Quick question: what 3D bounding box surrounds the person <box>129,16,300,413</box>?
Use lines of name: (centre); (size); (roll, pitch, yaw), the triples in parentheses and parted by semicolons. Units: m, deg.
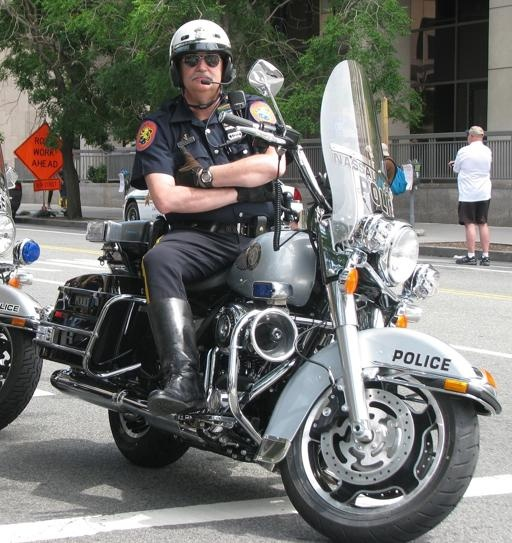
person: (-0.212, -0.279, 2.698); (0.746, 1.723, 0.628); (-2, 7, -25)

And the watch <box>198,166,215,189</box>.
watch: (-0.224, -0.409, 2.487); (0.059, 0.083, 0.086); (0, 22, -9)

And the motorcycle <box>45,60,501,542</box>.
motorcycle: (-0.050, 0.079, 2.373); (0.757, 1.867, 1.845); (3, -4, -41)

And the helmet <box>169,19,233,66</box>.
helmet: (-0.267, -1.080, 2.717); (0.211, 0.193, 0.250); (0, -20, -5)

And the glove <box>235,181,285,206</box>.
glove: (0.001, -0.345, 2.583); (0.166, 0.122, 0.067); (5, 40, -6)

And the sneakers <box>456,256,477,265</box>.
sneakers: (4.724, -0.267, 13.031); (0.195, 0.211, 0.533); (-7, 10, -44)
